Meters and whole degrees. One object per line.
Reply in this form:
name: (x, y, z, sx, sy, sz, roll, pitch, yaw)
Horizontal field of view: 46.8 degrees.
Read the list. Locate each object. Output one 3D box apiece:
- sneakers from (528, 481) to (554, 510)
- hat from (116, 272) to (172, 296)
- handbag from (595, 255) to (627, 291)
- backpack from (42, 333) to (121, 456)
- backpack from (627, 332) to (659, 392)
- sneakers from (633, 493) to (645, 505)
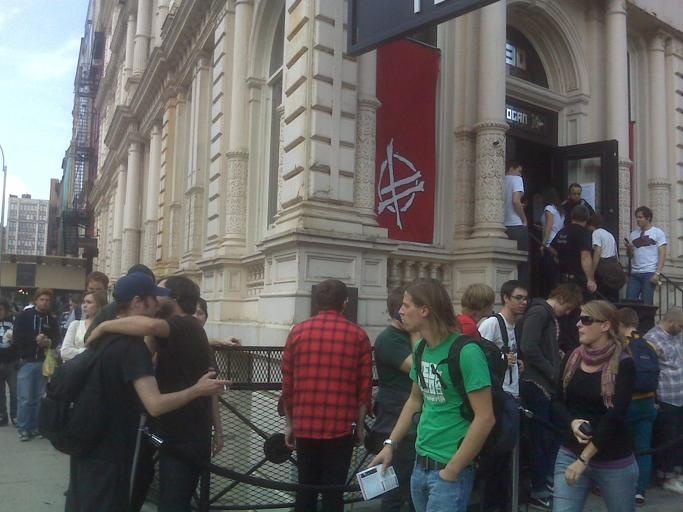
sneakers: (2.697, 3.250, 10.649, 0.291, 0.294, 0.386, -2, -4, 13)
hat: (-2.136, 0.318, 8.402, 0.422, 0.215, 0.257, -9, 10, -25)
handbag: (5.202, 0.352, 15.340, 0.491, 0.703, 0.287, -6, -7, 4)
backpack: (-2.681, 1.435, 8.223, 0.372, 1.093, 0.788, 11, -5, 9)
backpack: (4.238, 1.538, 11.071, 0.382, 0.794, 0.560, -3, -5, 28)
sneakers: (4.051, 3.323, 10.711, 0.093, 0.126, 0.100, -2, -5, 18)
